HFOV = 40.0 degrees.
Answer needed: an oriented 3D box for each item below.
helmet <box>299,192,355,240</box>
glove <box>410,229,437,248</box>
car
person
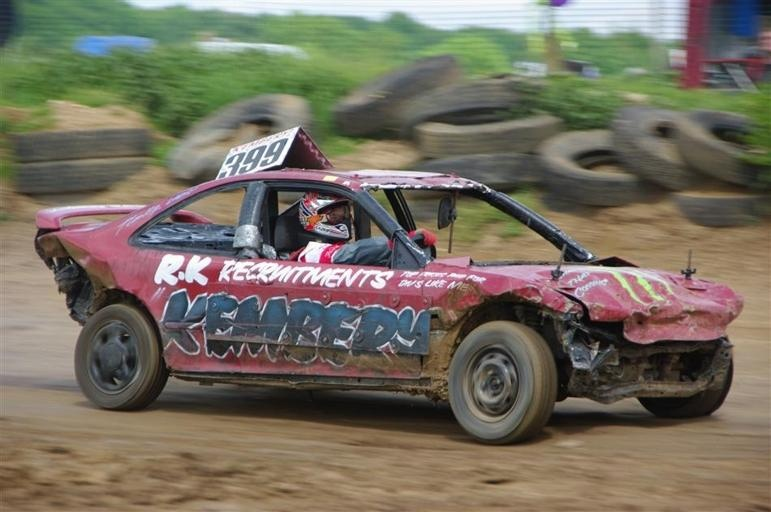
[{"bbox_3d":[-0.579,-0.446,10.917,0.544,0.439,0.680,-8,18,-42],"label":"helmet"},{"bbox_3d":[0.368,-0.164,10.204,0.272,0.083,0.176,21,-3,-4],"label":"glove"},{"bbox_3d":[0.057,0.062,10.976,6.732,2.081,3.464,-1,-1,24],"label":"car"},{"bbox_3d":[-0.307,-0.252,10.551,1.340,0.453,0.853,3,0,18],"label":"person"}]
